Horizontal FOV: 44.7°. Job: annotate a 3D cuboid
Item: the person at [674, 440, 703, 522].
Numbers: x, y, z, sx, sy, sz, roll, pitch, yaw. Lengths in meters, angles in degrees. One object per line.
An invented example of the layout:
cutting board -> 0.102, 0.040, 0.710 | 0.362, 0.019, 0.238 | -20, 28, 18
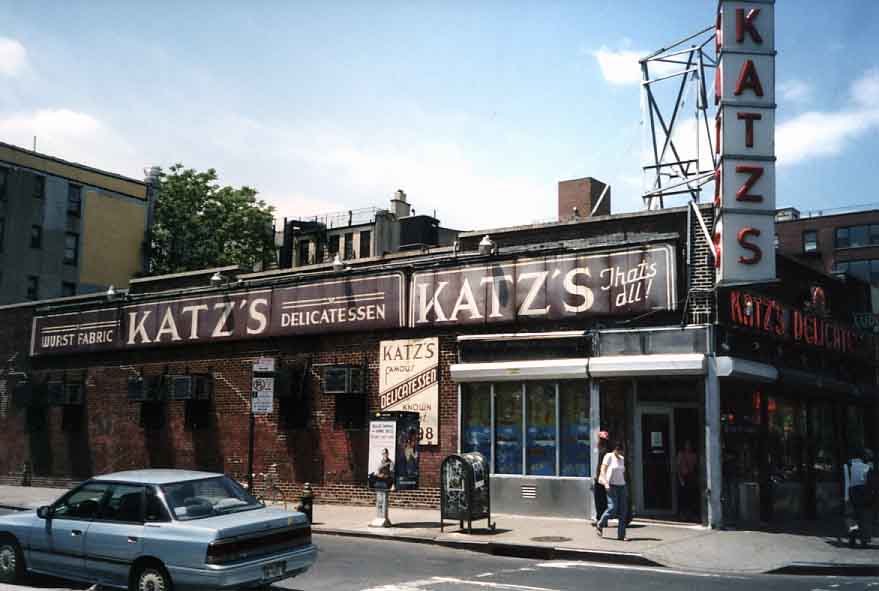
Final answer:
person -> 7.415, 5.553, 32.090 | 0.677, 2.338, 0.627 | 0, -7, 12

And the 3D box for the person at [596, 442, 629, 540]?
person -> 4.751, 5.461, 29.712 | 0.853, 2.566, 1.467 | 0, -7, 9

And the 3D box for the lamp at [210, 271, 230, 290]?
lamp -> -8.201, -0.532, 38.910 | 0.344, 0.542, 1.042 | -13, -6, 4

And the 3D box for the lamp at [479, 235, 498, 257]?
lamp -> 1.506, -1.559, 34.606 | 0.543, 0.564, 0.793 | -2, -13, 10

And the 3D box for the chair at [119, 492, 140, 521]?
chair -> -7.073, 4.792, 24.213 | 0.490, 0.678, 0.635 | 3, -22, -7
